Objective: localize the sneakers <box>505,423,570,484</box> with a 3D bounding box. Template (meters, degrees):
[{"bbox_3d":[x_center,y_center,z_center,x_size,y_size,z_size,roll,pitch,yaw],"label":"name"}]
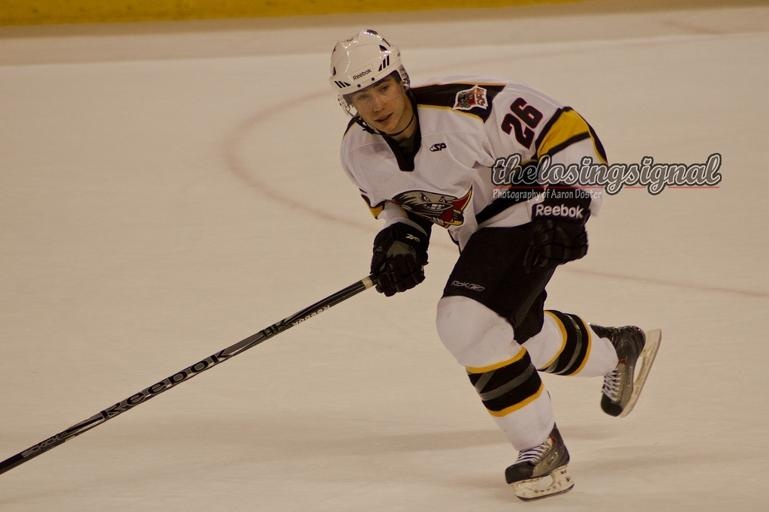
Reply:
[{"bbox_3d":[0.742,0.934,4.400,0.444,0.171,0.146,-12,5,-40],"label":"sneakers"}]

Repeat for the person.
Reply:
[{"bbox_3d":[0.555,-0.038,4.447,1.099,1.976,1.401,-28,37,-19],"label":"person"}]

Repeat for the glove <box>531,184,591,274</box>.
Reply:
[{"bbox_3d":[0.797,-0.123,4.212,0.297,0.166,0.351,8,78,14],"label":"glove"}]

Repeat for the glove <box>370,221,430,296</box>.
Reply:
[{"bbox_3d":[0.074,0.009,4.506,0.357,0.318,0.145,-5,10,-21],"label":"glove"}]

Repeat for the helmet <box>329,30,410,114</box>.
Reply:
[{"bbox_3d":[-0.100,-0.915,4.474,0.319,0.343,0.353,-28,21,10],"label":"helmet"}]
